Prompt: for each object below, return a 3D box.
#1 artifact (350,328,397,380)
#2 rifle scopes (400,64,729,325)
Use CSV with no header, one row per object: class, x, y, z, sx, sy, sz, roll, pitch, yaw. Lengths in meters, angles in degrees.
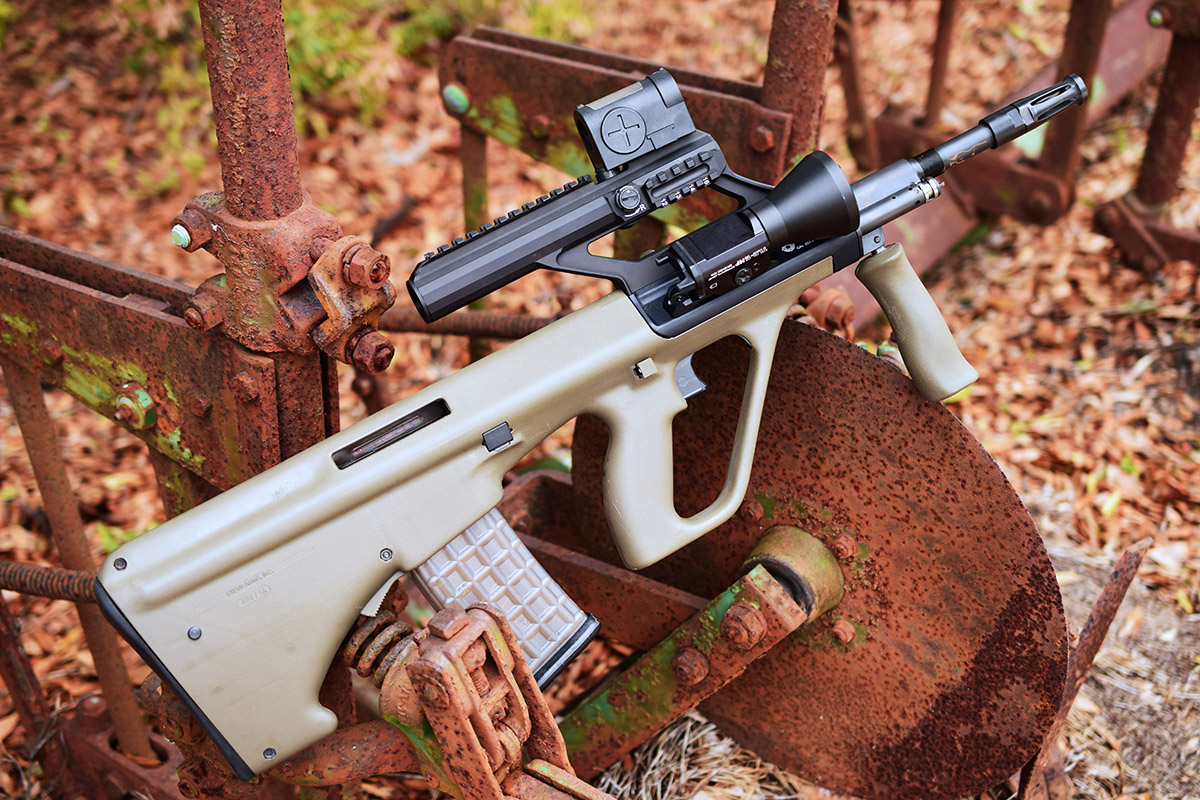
artifact,-0.779,-0.148,3.698,0.135,0.149,0.148,18,27,-43
rifle scopes,-0.083,-0.695,3.765,1.367,0.556,0.510,-30,41,-6
